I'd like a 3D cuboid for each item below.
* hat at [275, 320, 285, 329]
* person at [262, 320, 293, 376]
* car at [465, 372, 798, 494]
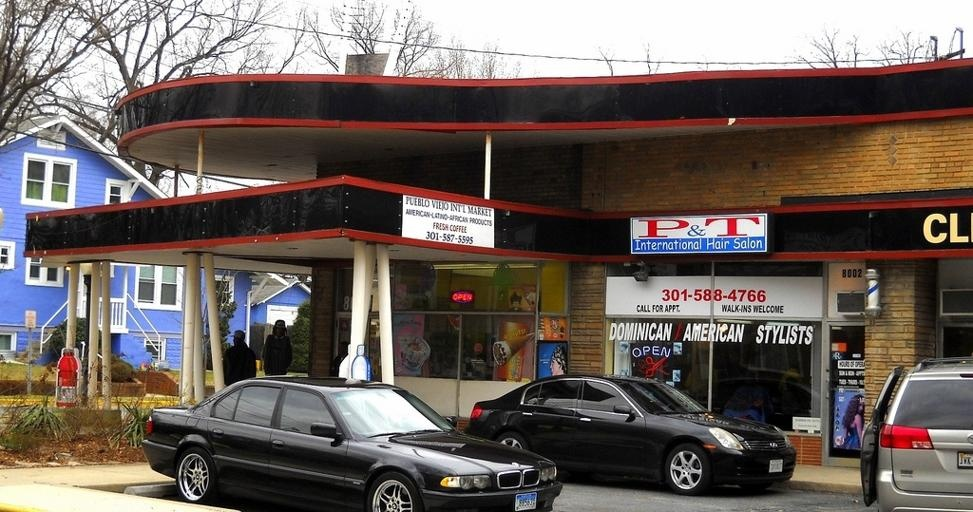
[{"bbox_3d":[-6.566,2.168,33.110,0.294,0.178,0.363,0,7,0],"label":"hat"},{"bbox_3d":[-6.663,2.897,33.181,0.857,1.790,1.201,-1,5,-13],"label":"person"},{"bbox_3d":[3.676,4.506,27.415,7.978,1.962,3.243,-3,-8,25],"label":"car"}]
